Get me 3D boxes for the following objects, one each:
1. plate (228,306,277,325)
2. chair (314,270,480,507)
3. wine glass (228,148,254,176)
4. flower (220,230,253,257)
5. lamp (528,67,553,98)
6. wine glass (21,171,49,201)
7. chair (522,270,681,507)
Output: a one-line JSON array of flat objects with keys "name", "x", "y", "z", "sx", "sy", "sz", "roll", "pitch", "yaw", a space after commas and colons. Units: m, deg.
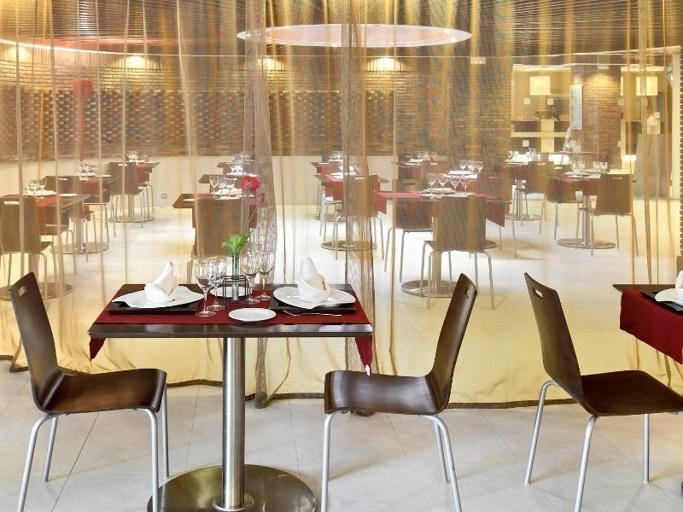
[{"name": "plate", "x": -0.357, "y": 0.241, "z": 2.273, "sx": 0.213, "sy": 0.026, "sz": 0.172, "roll": 5, "pitch": 12, "yaw": 44}, {"name": "chair", "x": 0.368, "y": 0.567, "z": 3.040, "sx": 1.016, "sy": 1.448, "sz": 0.885, "roll": 4, "pitch": 2, "yaw": -3}, {"name": "wine glass", "x": -0.606, "y": -0.578, "z": 3.486, "sx": 0.164, "sy": 0.111, "sz": 0.161, "roll": 0, "pitch": 1, "yaw": -9}, {"name": "flower", "x": -0.553, "y": -0.075, "z": 3.024, "sx": 0.144, "sy": 0.094, "sz": 0.140, "roll": -4, "pitch": 14, "yaw": 1}, {"name": "lamp", "x": 1.237, "y": -1.087, "z": 3.508, "sx": 0.158, "sy": 0.165, "sz": 0.155, "roll": -5, "pitch": 7, "yaw": -24}, {"name": "wine glass", "x": -2.023, "y": -0.476, "z": 3.760, "sx": 0.160, "sy": 0.173, "sz": 0.159, "roll": 2, "pitch": 0, "yaw": 23}, {"name": "chair", "x": 1.179, "y": 0.598, "z": 2.578, "sx": 0.625, "sy": 1.056, "sz": 0.457, "roll": -5, "pitch": 9, "yaw": -7}]
